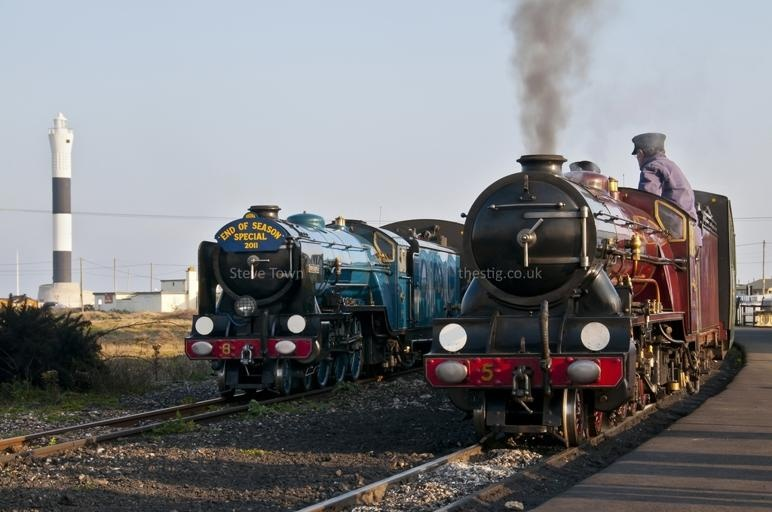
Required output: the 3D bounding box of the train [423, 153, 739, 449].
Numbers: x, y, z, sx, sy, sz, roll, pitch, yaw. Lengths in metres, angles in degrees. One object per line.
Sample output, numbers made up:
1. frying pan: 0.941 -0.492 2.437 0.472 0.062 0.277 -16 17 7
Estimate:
1. train: 4.157 0.706 17.939 2.662 5.097 7.572 -5 -7 36
